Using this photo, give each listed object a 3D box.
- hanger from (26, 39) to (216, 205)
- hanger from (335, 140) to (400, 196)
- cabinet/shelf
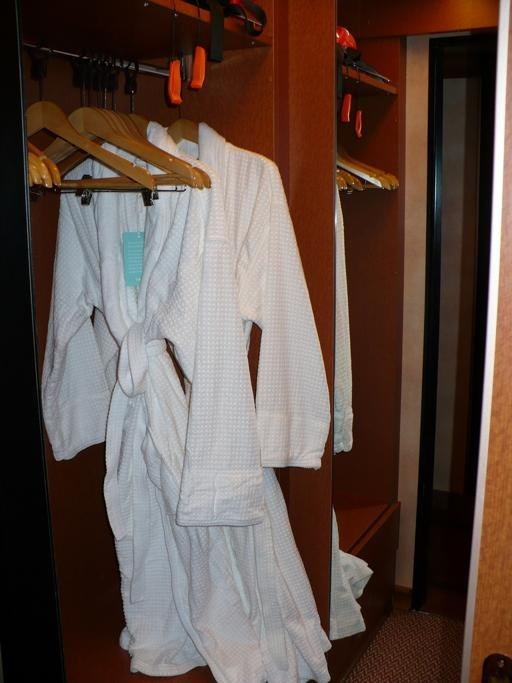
[{"bbox_3d":[-0.245,-0.376,1.202,0.322,0.239,0.436,-7,20,-20],"label":"hanger"},{"bbox_3d":[0.245,-0.386,1.427,0.074,0.057,0.128,-16,36,-29],"label":"hanger"},{"bbox_3d":[0.264,0.606,1.647,0.255,0.325,0.138,-28,38,-35],"label":"cabinet/shelf"}]
